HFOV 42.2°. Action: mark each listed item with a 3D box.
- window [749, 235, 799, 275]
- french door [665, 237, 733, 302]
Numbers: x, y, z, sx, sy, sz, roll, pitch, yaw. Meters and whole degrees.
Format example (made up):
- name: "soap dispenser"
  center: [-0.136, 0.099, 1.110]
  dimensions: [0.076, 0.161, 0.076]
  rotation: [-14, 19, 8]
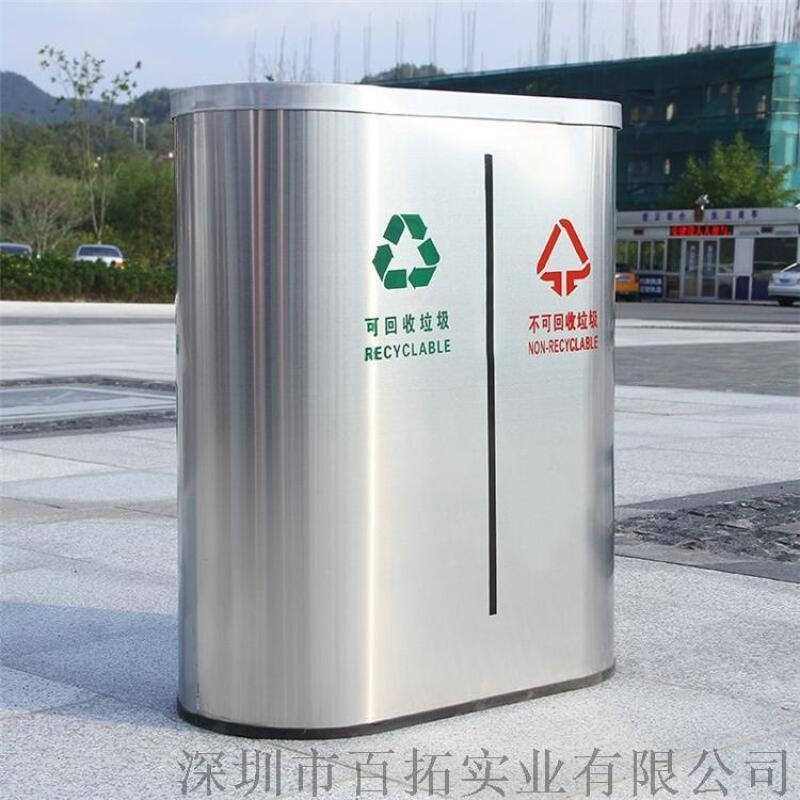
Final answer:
- name: "window"
  center: [15.385, -5.122, 42.321]
  dimensions: [1.253, 2.134, 2.284]
  rotation: [0, 1, 30]
- name: "french door"
  center: [12.890, -5.332, 44.381]
  dimensions: [0.300, 2.203, 2.849]
  rotation: [-4, 5, -32]
